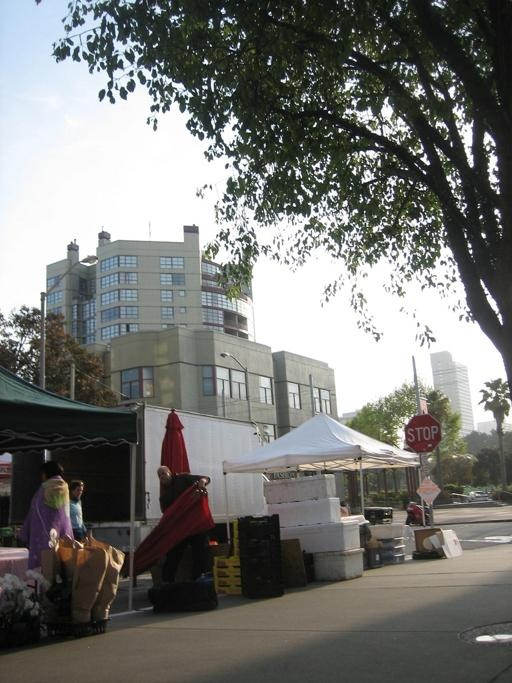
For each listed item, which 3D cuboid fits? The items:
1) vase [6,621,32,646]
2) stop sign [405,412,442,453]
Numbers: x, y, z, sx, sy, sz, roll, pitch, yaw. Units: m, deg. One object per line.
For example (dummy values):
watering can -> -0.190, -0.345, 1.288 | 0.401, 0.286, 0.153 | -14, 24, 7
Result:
vase -> -2.212, 2.703, 5.714 | 0.269, 0.192, 0.146 | 1, 7, 34
stop sign -> 3.737, 2.051, 13.725 | 0.943, 0.855, 0.656 | -12, -15, 40
